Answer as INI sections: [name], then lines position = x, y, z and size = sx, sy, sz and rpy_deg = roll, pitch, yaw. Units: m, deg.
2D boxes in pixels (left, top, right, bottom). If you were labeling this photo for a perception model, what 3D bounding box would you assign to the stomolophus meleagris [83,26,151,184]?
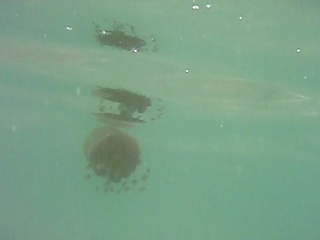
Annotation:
[stomolophus meleagris]
position = -0.386, -0.108, 4.754
size = 0.588, 0.445, 1.275
rpy_deg = 8, 72, -4
